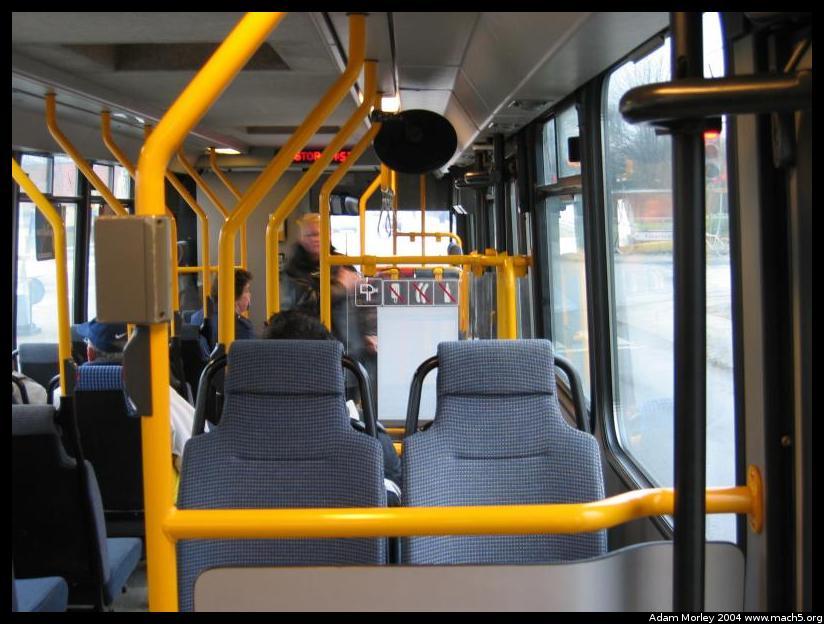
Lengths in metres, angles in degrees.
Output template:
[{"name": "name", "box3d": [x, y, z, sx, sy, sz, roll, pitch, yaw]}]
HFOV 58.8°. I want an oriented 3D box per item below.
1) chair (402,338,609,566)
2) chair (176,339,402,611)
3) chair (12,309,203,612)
[{"name": "chair", "box3d": [0.327, 0.477, 2.638, 0.704, 0.735, 0.502, 0, 3, 1]}, {"name": "chair", "box3d": [-0.449, 0.549, 2.588, 0.718, 0.884, 0.446, -1, 3, -3]}, {"name": "chair", "box3d": [-1.429, 0.782, 3.388, 0.739, 1.380, 0.900, 1, 1, 0]}]
